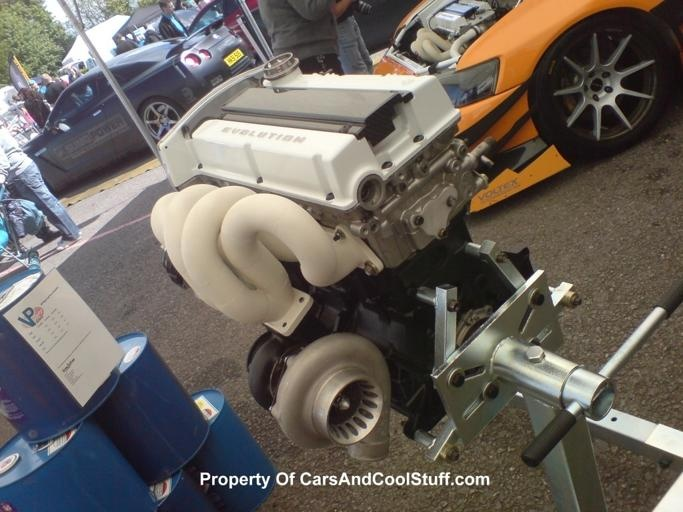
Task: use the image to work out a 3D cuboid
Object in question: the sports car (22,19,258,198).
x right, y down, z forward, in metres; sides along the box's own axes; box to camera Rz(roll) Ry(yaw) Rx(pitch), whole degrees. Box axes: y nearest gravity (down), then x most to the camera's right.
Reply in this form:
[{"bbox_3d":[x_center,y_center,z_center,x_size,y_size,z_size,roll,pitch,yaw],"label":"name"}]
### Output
[{"bbox_3d":[-2.816,-1.770,7.054,2.858,0.921,1.835,-13,30,37],"label":"sports car"}]
